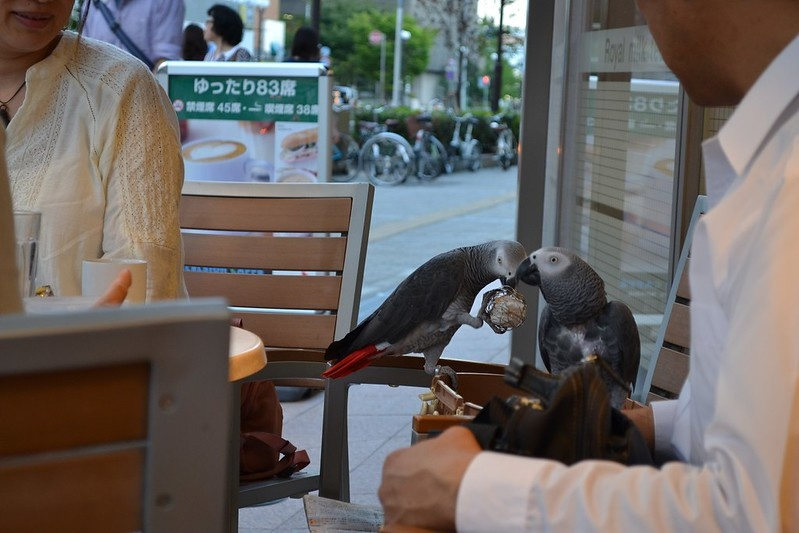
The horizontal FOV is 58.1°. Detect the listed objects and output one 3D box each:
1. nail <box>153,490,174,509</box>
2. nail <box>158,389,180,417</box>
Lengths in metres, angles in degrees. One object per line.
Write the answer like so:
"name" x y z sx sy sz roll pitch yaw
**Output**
"nail" -0.227 0.223 0.694 0.016 0.018 0.004 -10 -1 -12
"nail" -0.216 0.127 0.677 0.022 0.023 0.005 7 4 -15
